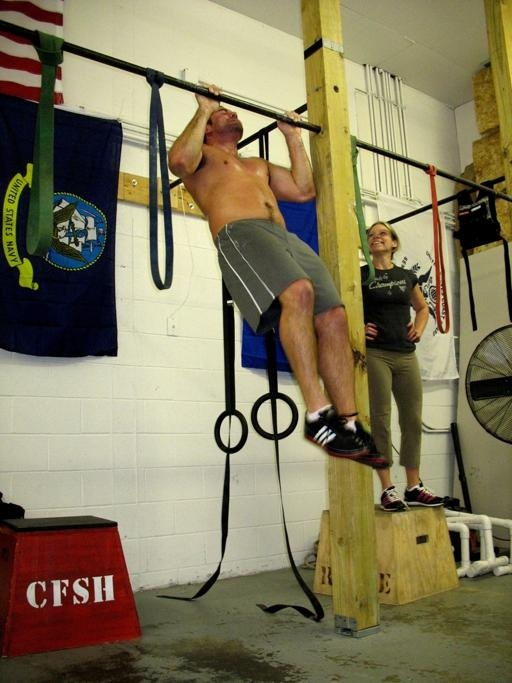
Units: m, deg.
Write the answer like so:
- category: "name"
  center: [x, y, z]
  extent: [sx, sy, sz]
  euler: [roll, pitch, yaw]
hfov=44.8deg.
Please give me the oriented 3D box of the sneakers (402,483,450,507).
- category: "sneakers"
  center: [0.883, 0.829, 3.335]
  extent: [0.169, 0.103, 0.397]
  euler: [-3, -5, 4]

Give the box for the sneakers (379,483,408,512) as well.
- category: "sneakers"
  center: [0.702, 0.814, 3.170]
  extent: [0.072, 0.085, 0.188]
  euler: [0, -13, -11]

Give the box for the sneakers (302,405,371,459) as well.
- category: "sneakers"
  center: [0.238, 0.278, 1.982]
  extent: [0.232, 0.109, 0.108]
  euler: [16, 36, 43]

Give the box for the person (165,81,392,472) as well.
- category: "person"
  center: [0.075, -0.270, 2.328]
  extent: [0.773, 1.492, 0.631]
  euler: [-4, -5, 20]
